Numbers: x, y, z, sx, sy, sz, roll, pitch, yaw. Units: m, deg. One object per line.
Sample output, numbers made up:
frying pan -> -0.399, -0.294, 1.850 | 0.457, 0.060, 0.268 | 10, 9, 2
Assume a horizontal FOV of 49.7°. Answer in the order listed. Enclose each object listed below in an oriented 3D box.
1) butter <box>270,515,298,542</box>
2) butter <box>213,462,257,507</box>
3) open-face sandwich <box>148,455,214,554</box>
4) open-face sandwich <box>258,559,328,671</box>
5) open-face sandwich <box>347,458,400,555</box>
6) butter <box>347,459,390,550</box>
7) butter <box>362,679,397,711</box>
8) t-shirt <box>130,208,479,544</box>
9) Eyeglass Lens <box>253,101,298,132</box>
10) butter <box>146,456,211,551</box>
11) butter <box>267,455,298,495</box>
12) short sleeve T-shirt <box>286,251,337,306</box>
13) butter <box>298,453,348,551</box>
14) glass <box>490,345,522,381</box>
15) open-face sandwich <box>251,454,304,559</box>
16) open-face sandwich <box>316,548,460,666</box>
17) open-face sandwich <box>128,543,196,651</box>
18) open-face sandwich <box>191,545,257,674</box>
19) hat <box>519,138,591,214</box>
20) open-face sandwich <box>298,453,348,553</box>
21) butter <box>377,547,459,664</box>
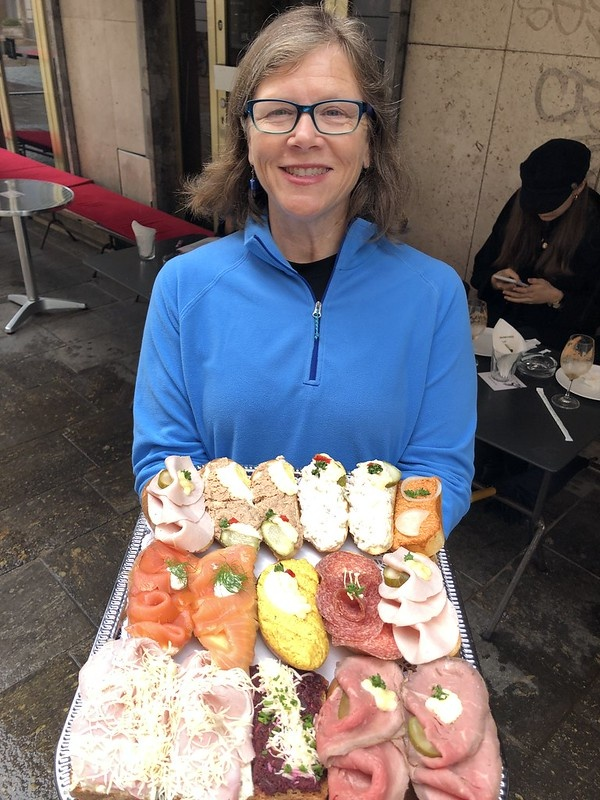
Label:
butter -> -0.036, 0.297, 1.510 | 0.042, 0.015, 0.064 | -10, 48, -27
butter -> -0.158, 0.207, 1.614 | 0.083, 0.023, 0.098 | -10, 55, -29
open-face sandwich -> -0.283, 0.227, 1.498 | 0.156, 0.080, 0.219 | -9, 60, -21
open-face sandwich -> -0.022, 0.437, 1.335 | 0.147, 0.049, 0.251 | 10, 35, -13
open-face sandwich -> 0.158, 0.250, 1.592 | 0.157, 0.090, 0.255 | 20, 42, -5
butter -> 0.167, 0.249, 1.548 | 0.111, 0.073, 0.192 | 1, 58, 3
butter -> 0.149, 0.523, 1.154 | 0.035, 0.012, 0.047 | -9, 26, -28
t-shirt -> 0.012, -0.080, 1.813 | 0.981, 0.702, 0.419 | 2, 12, -1
Eyeglass Lens -> -0.060, -0.621, 1.411 | 0.121, 0.065, 0.036 | 24, 38, 26
butter -> -0.289, 0.232, 1.507 | 0.153, 0.079, 0.214 | -9, 60, -21
butter -> -0.048, 0.194, 1.655 | 0.073, 0.021, 0.066 | -1, 61, -60
short sleeve T-shirt -> 0.039, -0.327, 1.762 | 0.139, 0.047, 0.120 | -3, 84, -4
butter -> 0.056, 0.240, 1.580 | 0.109, 0.068, 0.203 | -1, 53, 1
glass -> 0.964, -0.191, 3.119 | 0.153, 0.155, 0.147 | -3, 30, -2
open-face sandwich -> -0.057, 0.266, 1.564 | 0.103, 0.048, 0.245 | -15, 41, 10
open-face sandwich -> 0.165, 0.425, 1.314 | 0.218, 0.069, 0.225 | -29, 39, -31
open-face sandwich -> -0.284, 0.403, 1.338 | 0.126, 0.073, 0.187 | 4, 37, -13
open-face sandwich -> -0.150, 0.411, 1.305 | 0.120, 0.075, 0.210 | 0, 47, -8
hat -> 1.522, -1.346, 3.922 | 0.371, 0.399, 0.356 | 22, 37, 22
open-face sandwich -> 0.059, 0.257, 1.607 | 0.130, 0.077, 0.248 | -2, 52, 6
butter -> 0.230, 0.414, 1.315 | 0.139, 0.062, 0.187 | -3, 42, -19
